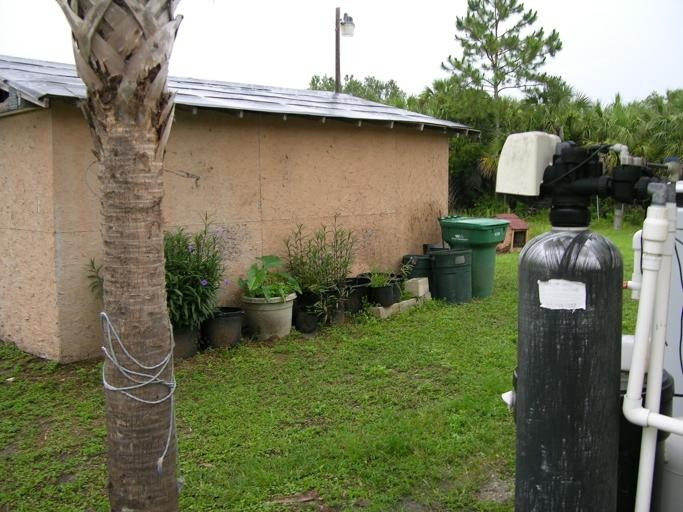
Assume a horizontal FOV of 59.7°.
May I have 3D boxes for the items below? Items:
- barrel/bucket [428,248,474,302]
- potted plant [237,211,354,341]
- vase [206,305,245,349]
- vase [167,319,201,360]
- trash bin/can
[{"bbox_3d":[1.832,0.434,10.034,0.820,0.980,0.778,-3,3,0],"label":"barrel/bucket"},{"bbox_3d":[-0.548,0.329,8.553,0.922,1.366,2.059,9,16,37],"label":"potted plant"},{"bbox_3d":[-1.485,0.943,7.612,0.400,0.377,0.452,-3,-6,39],"label":"vase"},{"bbox_3d":[-1.876,1.005,7.334,0.430,0.568,0.501,0,-2,-3],"label":"vase"},{"bbox_3d":[2.225,0.004,10.083,1.214,1.708,1.087,1,4,37],"label":"trash bin/can"}]
